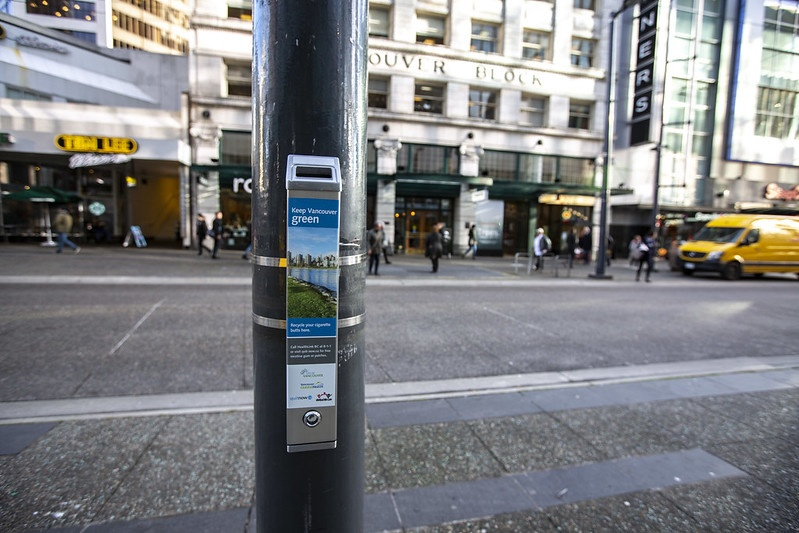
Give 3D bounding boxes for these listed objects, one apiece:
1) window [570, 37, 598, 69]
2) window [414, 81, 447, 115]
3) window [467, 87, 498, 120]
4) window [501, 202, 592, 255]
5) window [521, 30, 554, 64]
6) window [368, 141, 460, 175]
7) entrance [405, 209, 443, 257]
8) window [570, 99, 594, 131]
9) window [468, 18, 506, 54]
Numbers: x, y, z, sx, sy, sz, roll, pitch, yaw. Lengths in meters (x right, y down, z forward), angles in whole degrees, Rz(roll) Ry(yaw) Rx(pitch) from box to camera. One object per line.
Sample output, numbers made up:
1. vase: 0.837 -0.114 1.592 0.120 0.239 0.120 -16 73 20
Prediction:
1. window: 10.457 -12.144 35.322 1.884 2.046 0.339 -2 1 -19
2. window: 1.585 -9.064 33.154 1.670 1.591 0.574 -2 12 -11
3. window: 4.460 -8.954 33.806 1.623 1.615 0.532 -2 8 -21
4. window: 8.031 -2.609 36.663 4.942 3.689 2.751 2 0 -6
5. window: 7.609 -12.259 34.436 1.940 1.927 0.265 -1 6 -19
6. window: 1.574 -5.774 33.299 3.383 1.528 0.299 -2 6 -15
7. entrance: 1.168 -1.726 31.655 2.598 3.203 0.448 0 12 -7
8. window: 10.487 -8.758 35.778 1.719 1.993 0.305 1 1 -10
9. window: 4.697 -12.550 33.645 1.921 1.920 0.258 2 4 -18
